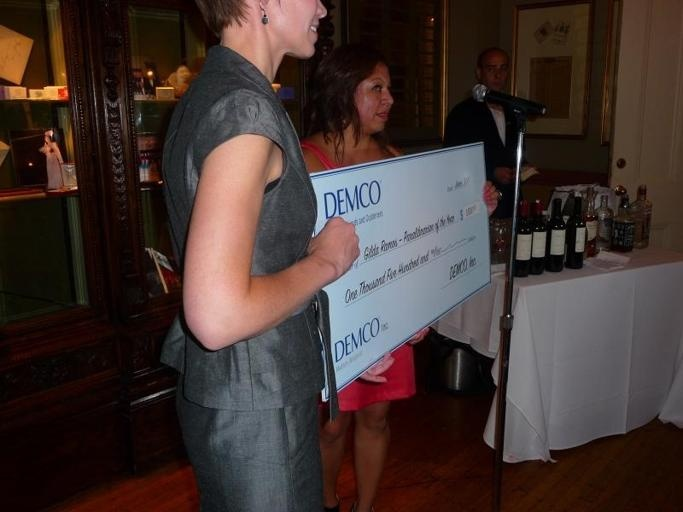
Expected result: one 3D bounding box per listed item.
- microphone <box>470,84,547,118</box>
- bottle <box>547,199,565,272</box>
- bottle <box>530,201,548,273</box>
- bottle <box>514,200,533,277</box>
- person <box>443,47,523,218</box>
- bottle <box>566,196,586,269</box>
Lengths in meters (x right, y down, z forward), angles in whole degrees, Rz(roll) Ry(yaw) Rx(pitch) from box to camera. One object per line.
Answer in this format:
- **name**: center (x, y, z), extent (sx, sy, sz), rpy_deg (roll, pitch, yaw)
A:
- **microphone**: center (0.674, -0.617, 2.158), extent (0.248, 0.123, 0.514), rpy_deg (2, 16, 19)
- **bottle**: center (1.102, -0.111, 2.794), extent (0.080, 0.396, 0.168), rpy_deg (7, 17, 36)
- **bottle**: center (1.036, -0.111, 2.813), extent (0.066, 0.389, 0.211), rpy_deg (5, 15, 28)
- **bottle**: center (0.924, -0.079, 2.736), extent (0.078, 0.374, 0.317), rpy_deg (2, 15, 20)
- **person**: center (1.035, -0.937, 4.049), extent (0.517, 1.209, 0.895), rpy_deg (2, 15, 18)
- **bottle**: center (1.284, -0.151, 2.950), extent (0.098, 0.384, 0.289), rpy_deg (4, 15, 24)
